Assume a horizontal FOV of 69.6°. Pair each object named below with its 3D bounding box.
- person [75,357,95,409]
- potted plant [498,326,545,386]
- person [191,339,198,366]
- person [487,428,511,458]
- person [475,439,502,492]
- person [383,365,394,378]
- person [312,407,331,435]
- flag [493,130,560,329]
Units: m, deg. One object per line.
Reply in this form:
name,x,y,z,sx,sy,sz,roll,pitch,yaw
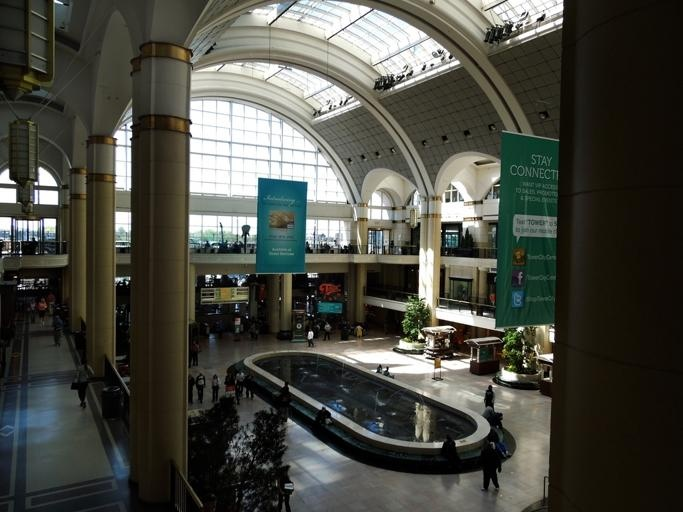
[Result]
person,-7.792,3.789,14.729,0.293,1.172,1.688,1,2,-24
potted plant,8.251,4.492,22.293,2.211,2.438,1.646,1,2,-41
person,-7.076,4.728,23.619,0.351,1.220,1.618,1,1,-16
person,4.550,5.447,14.232,0.312,0.385,1.028,4,-32,41
person,3.907,5.420,12.824,0.460,1.131,0.748,2,1,17
person,2.071,5.288,22.122,0.266,0.417,0.970,-7,-22,4
person,-0.651,5.362,15.971,0.464,0.818,0.256,13,15,-4
flag,3.723,-0.392,9.845,1.804,3.542,0.970,1,1,-16
